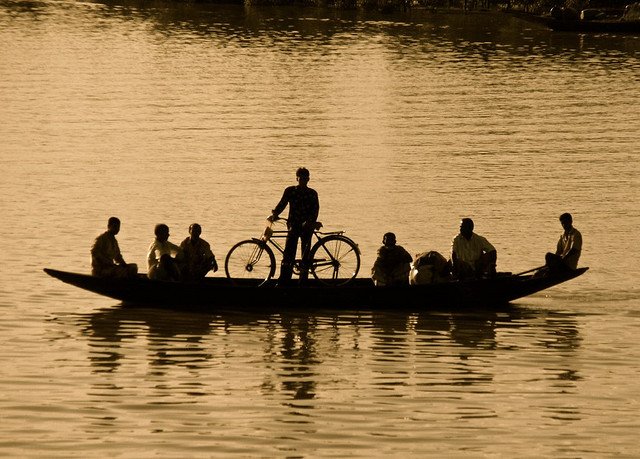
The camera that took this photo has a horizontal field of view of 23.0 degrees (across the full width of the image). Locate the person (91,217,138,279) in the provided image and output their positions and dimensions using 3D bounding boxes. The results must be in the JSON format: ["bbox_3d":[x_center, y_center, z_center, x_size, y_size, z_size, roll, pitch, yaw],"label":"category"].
[{"bbox_3d":[-4.561,0.324,35.167,1.055,1.328,0.856,6,24,-12],"label":"person"}]

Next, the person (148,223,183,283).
[{"bbox_3d":[-3.479,0.512,35.067,0.889,1.211,0.662,-4,20,-10],"label":"person"}]

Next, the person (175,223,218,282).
[{"bbox_3d":[-2.779,0.483,35.455,0.982,1.247,0.773,-2,23,-11],"label":"person"}]

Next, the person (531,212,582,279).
[{"bbox_3d":[5.507,0.342,35.839,1.139,1.396,1.048,-4,19,-5],"label":"person"}]

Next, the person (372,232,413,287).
[{"bbox_3d":[1.595,0.666,35.209,1.443,1.439,1.170,0,-2,-7],"label":"person"}]

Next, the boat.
[{"bbox_3d":[-0.057,1.370,35.000,10.595,0.902,0.584,1,10,-2],"label":"boat"}]
